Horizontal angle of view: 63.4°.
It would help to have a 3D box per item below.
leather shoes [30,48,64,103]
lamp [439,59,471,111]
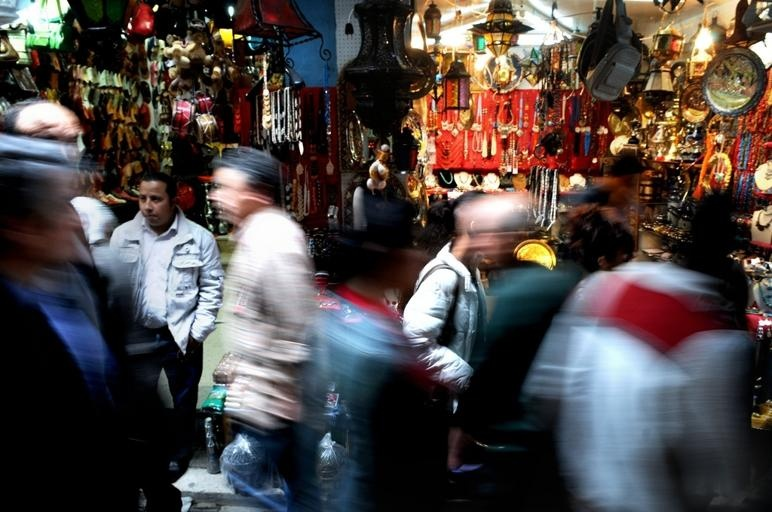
[{"bbox_3d":[-2.076,-1.132,3.882,0.105,0.305,0.238,4,12,13],"label":"leather shoes"},{"bbox_3d":[0.684,-1.690,5.992,0.270,0.518,0.257,-9,15,-33],"label":"lamp"}]
